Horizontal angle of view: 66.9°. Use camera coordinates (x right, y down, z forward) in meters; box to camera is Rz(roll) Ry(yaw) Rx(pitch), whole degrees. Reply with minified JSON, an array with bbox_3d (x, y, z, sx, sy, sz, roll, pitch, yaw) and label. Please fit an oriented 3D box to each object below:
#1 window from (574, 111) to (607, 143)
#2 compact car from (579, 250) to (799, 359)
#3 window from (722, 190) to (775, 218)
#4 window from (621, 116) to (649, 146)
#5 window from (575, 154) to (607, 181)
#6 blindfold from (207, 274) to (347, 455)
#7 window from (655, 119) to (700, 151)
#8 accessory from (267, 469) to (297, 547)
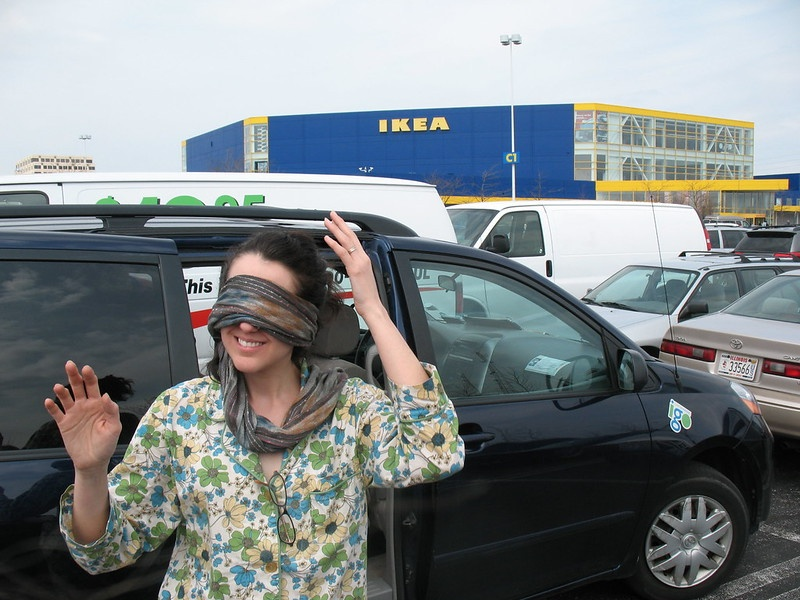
[{"bbox_3d":[16.271,-15.020,52.213,2.708,2.686,0.213,-6,9,-12],"label":"window"},{"bbox_3d":[3.684,-0.131,7.467,3.173,1.163,1.520,-2,4,-26],"label":"compact car"},{"bbox_3d":[36.059,-10.125,63.249,5.800,3.860,3.074,-1,5,-22],"label":"window"},{"bbox_3d":[21.270,-15.509,55.284,0.103,2.213,3.159,0,6,45],"label":"window"},{"bbox_3d":[16.506,-11.647,52.939,2.498,1.742,0.326,-3,11,-12],"label":"window"},{"bbox_3d":[-0.296,0.130,1.628,0.353,0.458,0.208,6,4,25],"label":"blindfold"},{"bbox_3d":[26.777,-16.176,58.932,3.872,2.176,0.396,-1,6,-32],"label":"window"},{"bbox_3d":[-0.296,0.526,1.522,0.043,0.175,0.050,-9,10,-36],"label":"accessory"}]
